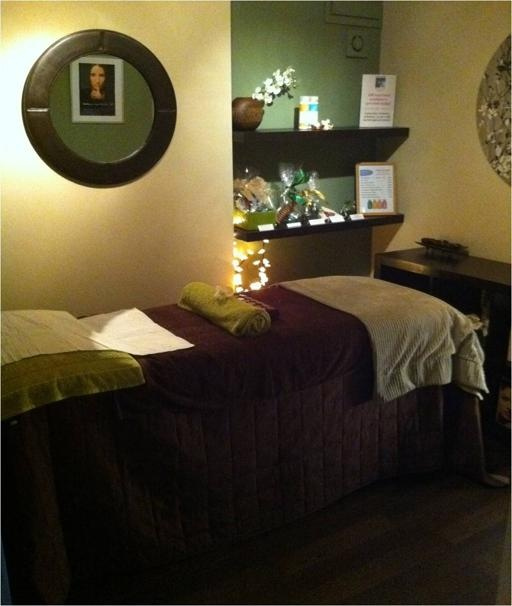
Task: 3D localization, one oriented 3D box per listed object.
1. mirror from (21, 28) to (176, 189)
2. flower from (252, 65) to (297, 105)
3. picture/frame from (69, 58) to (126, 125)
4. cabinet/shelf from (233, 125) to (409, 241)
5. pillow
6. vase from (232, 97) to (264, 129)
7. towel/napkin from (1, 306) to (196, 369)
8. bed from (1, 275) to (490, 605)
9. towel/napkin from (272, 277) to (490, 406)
[{"bbox_3d":[-0.643,-0.785,1.893,0.554,0.651,0.047,-9,16,-43],"label":"mirror"},{"bbox_3d":[0.114,-1.223,2.679,0.294,0.227,0.170,-3,10,-16],"label":"flower"},{"bbox_3d":[-0.632,-0.837,1.882,0.227,0.310,0.017,-3,4,-34],"label":"picture/frame"},{"bbox_3d":[0.374,-0.847,2.843,1.157,0.414,0.360,-6,12,-29],"label":"cabinet/shelf"},{"bbox_3d":[-0.519,0.136,1.314,0.339,0.193,0.406,-6,13,-31],"label":"pillow"},{"bbox_3d":[-0.048,-0.939,2.426,0.135,0.120,0.159,0,16,0],"label":"vase"},{"bbox_3d":[-0.497,0.092,1.361,0.273,0.048,0.273,-7,19,-27],"label":"towel/napkin"},{"bbox_3d":[-0.133,0.457,1.655,1.202,0.570,0.791,-16,25,-28],"label":"bed"},{"bbox_3d":[0.521,-0.046,1.833,0.461,0.318,0.582,-9,29,-25],"label":"towel/napkin"}]
